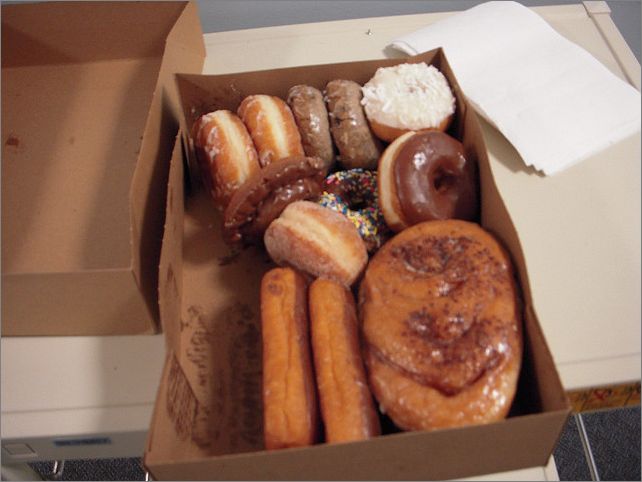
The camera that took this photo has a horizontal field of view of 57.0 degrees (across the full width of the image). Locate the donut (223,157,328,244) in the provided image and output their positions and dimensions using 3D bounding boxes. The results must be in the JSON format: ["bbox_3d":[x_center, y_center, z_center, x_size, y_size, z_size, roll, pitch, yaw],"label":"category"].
[{"bbox_3d":[-0.098,-0.058,1.238,0.176,0.181,0.071,-41,85,24],"label":"donut"}]

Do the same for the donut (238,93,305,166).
[{"bbox_3d":[-0.120,-0.280,1.326,0.089,0.081,0.207,-20,66,-8],"label":"donut"}]

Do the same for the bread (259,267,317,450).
[{"bbox_3d":[-0.065,0.217,1.078,0.076,0.098,0.362,-3,66,-2],"label":"bread"}]
